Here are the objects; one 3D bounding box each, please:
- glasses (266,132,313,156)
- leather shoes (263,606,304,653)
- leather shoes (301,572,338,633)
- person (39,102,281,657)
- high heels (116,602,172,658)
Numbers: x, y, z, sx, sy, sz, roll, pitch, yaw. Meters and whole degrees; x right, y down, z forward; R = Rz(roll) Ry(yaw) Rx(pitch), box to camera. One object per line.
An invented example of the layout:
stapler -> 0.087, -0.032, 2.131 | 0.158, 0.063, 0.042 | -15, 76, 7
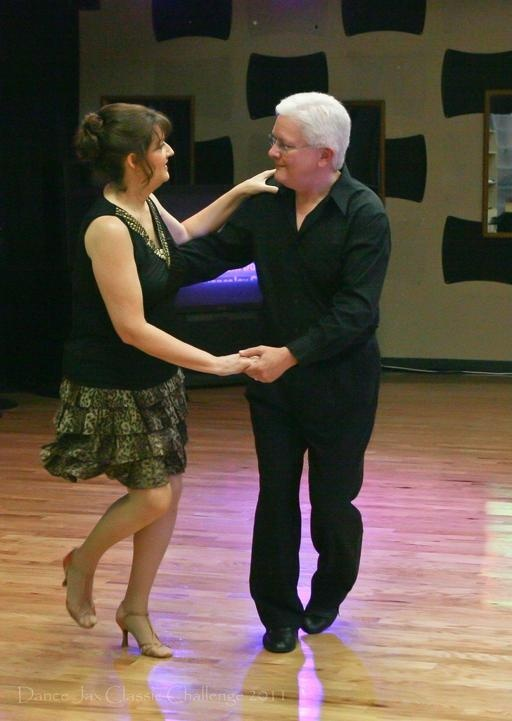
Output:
glasses -> 0.074, -0.476, 1.514 | 0.093, 0.049, 0.026 | 3, 5, 35
leather shoes -> 0.082, 0.699, 1.762 | 0.058, 0.090, 0.149 | 0, -11, 6
leather shoes -> 0.202, 0.697, 1.964 | 0.079, 0.080, 0.211 | 3, 4, 15
person -> -0.235, 0.112, 1.628 | 0.552, 1.329, 0.488 | 1, 5, 1
high heels -> -0.278, 0.680, 1.735 | 0.183, 0.110, 0.065 | 2, -1, 31
